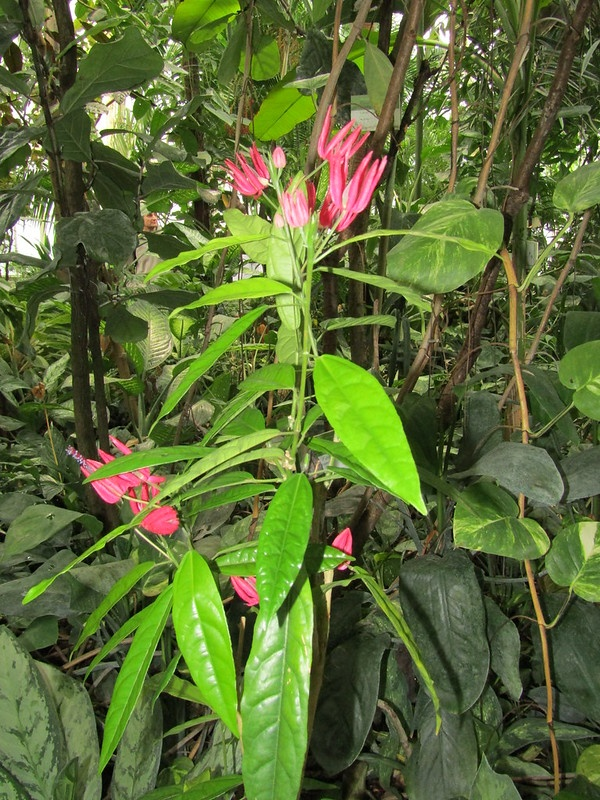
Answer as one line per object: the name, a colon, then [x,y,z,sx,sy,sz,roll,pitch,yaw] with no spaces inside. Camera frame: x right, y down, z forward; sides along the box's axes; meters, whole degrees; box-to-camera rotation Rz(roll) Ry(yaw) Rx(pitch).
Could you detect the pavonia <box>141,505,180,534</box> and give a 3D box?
pavonia: [-0.124,0.107,0.546,0.036,0.028,0.015,3,7,-41]
